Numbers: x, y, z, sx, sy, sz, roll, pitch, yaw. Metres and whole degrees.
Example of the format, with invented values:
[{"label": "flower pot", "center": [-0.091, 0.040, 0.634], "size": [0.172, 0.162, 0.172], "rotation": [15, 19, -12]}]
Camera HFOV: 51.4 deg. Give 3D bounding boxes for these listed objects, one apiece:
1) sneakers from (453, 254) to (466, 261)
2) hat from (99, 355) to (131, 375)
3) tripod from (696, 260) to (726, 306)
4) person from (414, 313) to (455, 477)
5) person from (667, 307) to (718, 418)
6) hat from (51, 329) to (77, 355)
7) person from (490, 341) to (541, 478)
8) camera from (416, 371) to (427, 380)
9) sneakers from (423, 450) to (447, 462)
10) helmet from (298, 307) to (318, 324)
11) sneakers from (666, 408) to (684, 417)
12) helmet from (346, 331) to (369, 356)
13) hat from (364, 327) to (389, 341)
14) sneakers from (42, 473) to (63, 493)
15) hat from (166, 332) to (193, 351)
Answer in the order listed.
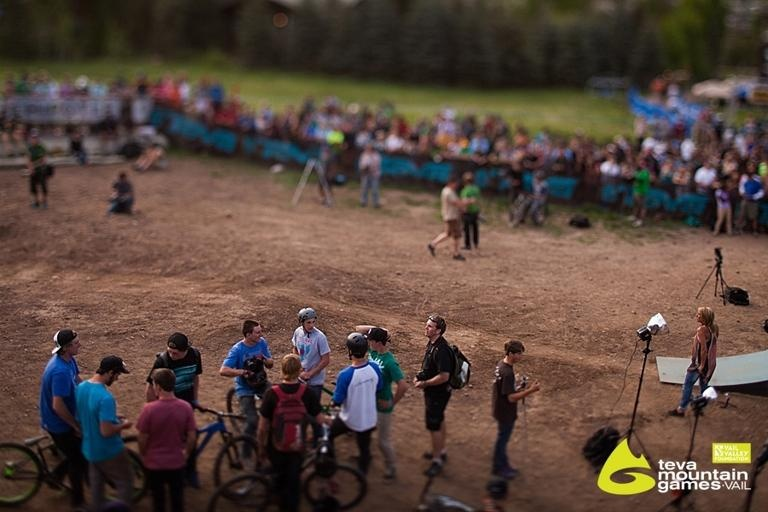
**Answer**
[{"label": "sneakers", "center": [2.089, 0.037, 21.738], "size": [0.365, 0.160, 0.293], "rotation": [-1, 9, -17]}, {"label": "hat", "center": [-4.735, 1.940, 14.044], "size": [0.546, 0.294, 0.370], "rotation": [6, 11, -29]}, {"label": "tripod", "center": [8.545, 0.594, 20.549], "size": [0.679, 1.028, 1.833], "rotation": [6, 10, 23]}, {"label": "person", "center": [0.976, 2.640, 15.091], "size": [0.727, 2.984, 0.408], "rotation": [2, 10, 4]}, {"label": "person", "center": [6.431, 2.212, 16.288], "size": [0.686, 2.326, 0.384], "rotation": [6, 11, 22]}, {"label": "hat", "center": [-5.848, 1.509, 14.449], "size": [0.361, 0.461, 0.808], "rotation": [-4, 10, -28]}, {"label": "person", "center": [2.448, 2.926, 15.216], "size": [0.741, 2.695, 0.802], "rotation": [3, 10, 9]}, {"label": "camera", "center": [0.725, 2.290, 15.083], "size": [0.203, 0.202, 0.197], "rotation": [4, 9, 3]}, {"label": "sneakers", "center": [1.007, 3.904, 15.447], "size": [0.413, 0.260, 0.130], "rotation": [7, 40, 7]}, {"label": "helmet", "center": [-1.493, 1.161, 15.459], "size": [0.282, 0.315, 0.364], "rotation": [-2, 5, -42]}, {"label": "sneakers", "center": [6.105, 3.282, 16.603], "size": [0.358, 0.130, 0.133], "rotation": [7, 25, 22]}, {"label": "helmet", "center": [-0.457, 1.612, 14.659], "size": [0.360, 0.406, 0.439], "rotation": [3, 20, -11]}, {"label": "hat", "center": [-0.116, 1.503, 14.881], "size": [0.351, 0.168, 0.234], "rotation": [13, 12, 9]}, {"label": "sneakers", "center": [-6.014, 4.159, 14.494], "size": [0.449, 0.280, 0.237], "rotation": [9, 30, 17]}, {"label": "hat", "center": [-3.780, 1.593, 14.646], "size": [0.329, 0.296, 0.347], "rotation": [4, 9, 13]}]
